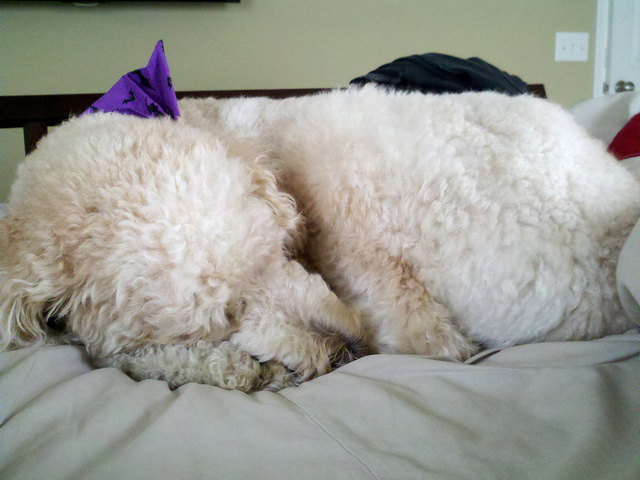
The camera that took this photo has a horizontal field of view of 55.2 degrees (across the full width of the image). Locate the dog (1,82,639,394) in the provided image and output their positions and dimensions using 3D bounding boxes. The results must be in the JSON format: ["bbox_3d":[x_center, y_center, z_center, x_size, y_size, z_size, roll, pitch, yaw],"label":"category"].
[{"bbox_3d":[-0.019,0.056,1.242,0.889,0.341,0.687,-7,59,-6],"label":"dog"}]
